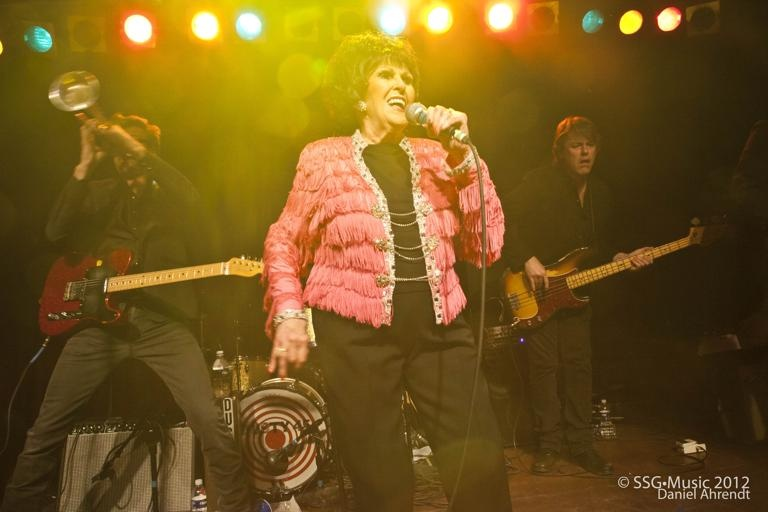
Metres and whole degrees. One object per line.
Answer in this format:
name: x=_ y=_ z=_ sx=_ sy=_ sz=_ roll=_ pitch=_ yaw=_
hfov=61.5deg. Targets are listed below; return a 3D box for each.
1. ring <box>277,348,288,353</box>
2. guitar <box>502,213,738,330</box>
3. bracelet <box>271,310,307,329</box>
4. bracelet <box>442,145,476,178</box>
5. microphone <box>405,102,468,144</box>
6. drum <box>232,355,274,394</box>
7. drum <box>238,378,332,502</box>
ring: x=-0.621 y=0.578 z=3.937 sx=0.055 sy=0.032 sz=0.009 roll=-2 pitch=13 yaw=3
guitar: x=2.079 y=0.227 z=6.186 sx=1.870 sy=0.868 sz=0.321 roll=-4 pitch=13 yaw=-7
bracelet: x=-0.579 y=0.385 z=3.984 sx=0.212 sy=0.102 sz=0.057 roll=-5 pitch=14 yaw=-12
bracelet: x=0.481 y=-0.588 z=4.091 sx=0.140 sy=0.197 sz=0.074 roll=4 pitch=4 yaw=-33
microphone: x=0.335 y=-0.788 z=4.095 sx=0.291 sy=0.312 sz=0.242 roll=-2 pitch=9 yaw=-25
drum: x=-1.230 y=1.106 z=5.900 sx=0.235 sy=0.362 sz=0.416 roll=-1 pitch=-6 yaw=20
drum: x=-0.857 y=1.615 z=5.665 sx=0.890 sy=0.949 sz=0.560 roll=-2 pitch=-8 yaw=3
